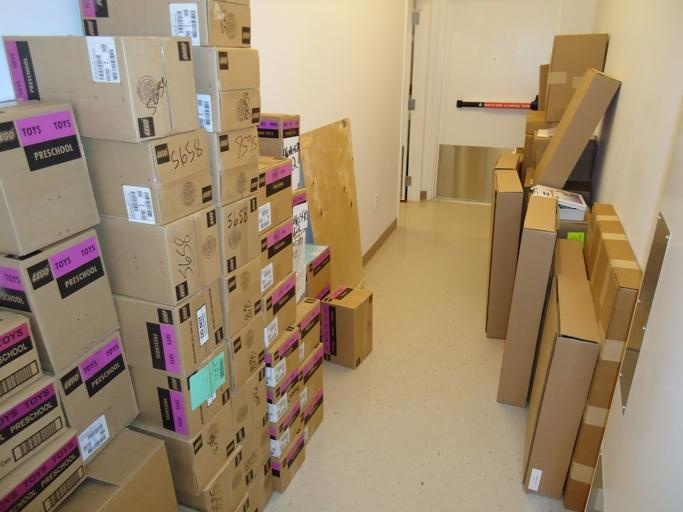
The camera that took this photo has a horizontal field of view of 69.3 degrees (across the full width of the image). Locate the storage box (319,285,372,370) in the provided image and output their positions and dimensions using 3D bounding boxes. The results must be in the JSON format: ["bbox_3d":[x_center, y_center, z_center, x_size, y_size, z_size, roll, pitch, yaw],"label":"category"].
[{"bbox_3d":[0.018,0.465,3.071,0.207,0.429,0.289,11,37,23],"label":"storage box"}]
